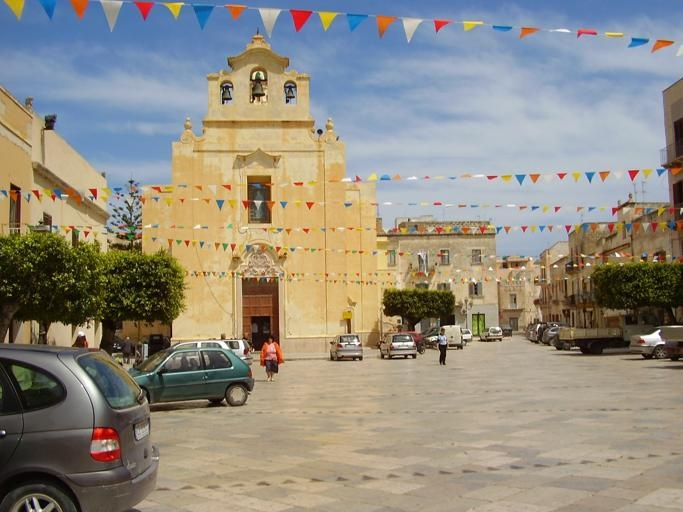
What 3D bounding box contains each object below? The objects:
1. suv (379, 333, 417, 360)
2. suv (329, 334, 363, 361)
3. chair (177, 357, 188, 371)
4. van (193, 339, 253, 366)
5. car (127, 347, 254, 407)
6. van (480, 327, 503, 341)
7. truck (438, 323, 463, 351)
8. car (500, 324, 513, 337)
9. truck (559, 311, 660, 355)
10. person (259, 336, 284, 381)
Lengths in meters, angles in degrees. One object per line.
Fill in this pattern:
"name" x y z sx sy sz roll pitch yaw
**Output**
"suv" 2.975 4.630 45.233 1.684 1.328 2.313 -1 -10 1
"suv" 0.280 4.520 43.269 1.321 1.105 2.797 0 -2 -4
"chair" -3.801 2.599 21.282 0.256 0.495 0.265 2 -8 -12
"van" -4.444 3.377 32.329 2.387 1.047 1.206 2 -8 -5
"car" -3.671 2.940 21.450 2.654 1.169 1.579 6 -9 -20
"van" 12.186 6.354 71.291 0.826 1.068 2.256 2 -10 -20
"truck" 7.146 5.117 55.438 1.459 1.536 2.767 -1 2 1
"car" 17.055 7.683 89.838 1.220 1.004 2.161 0 -8 0
"truck" 14.308 4.053 46.392 3.955 1.880 2.220 -2 -4 -8
"person" -2.280 3.395 29.042 0.686 1.424 0.765 6 -11 -39
